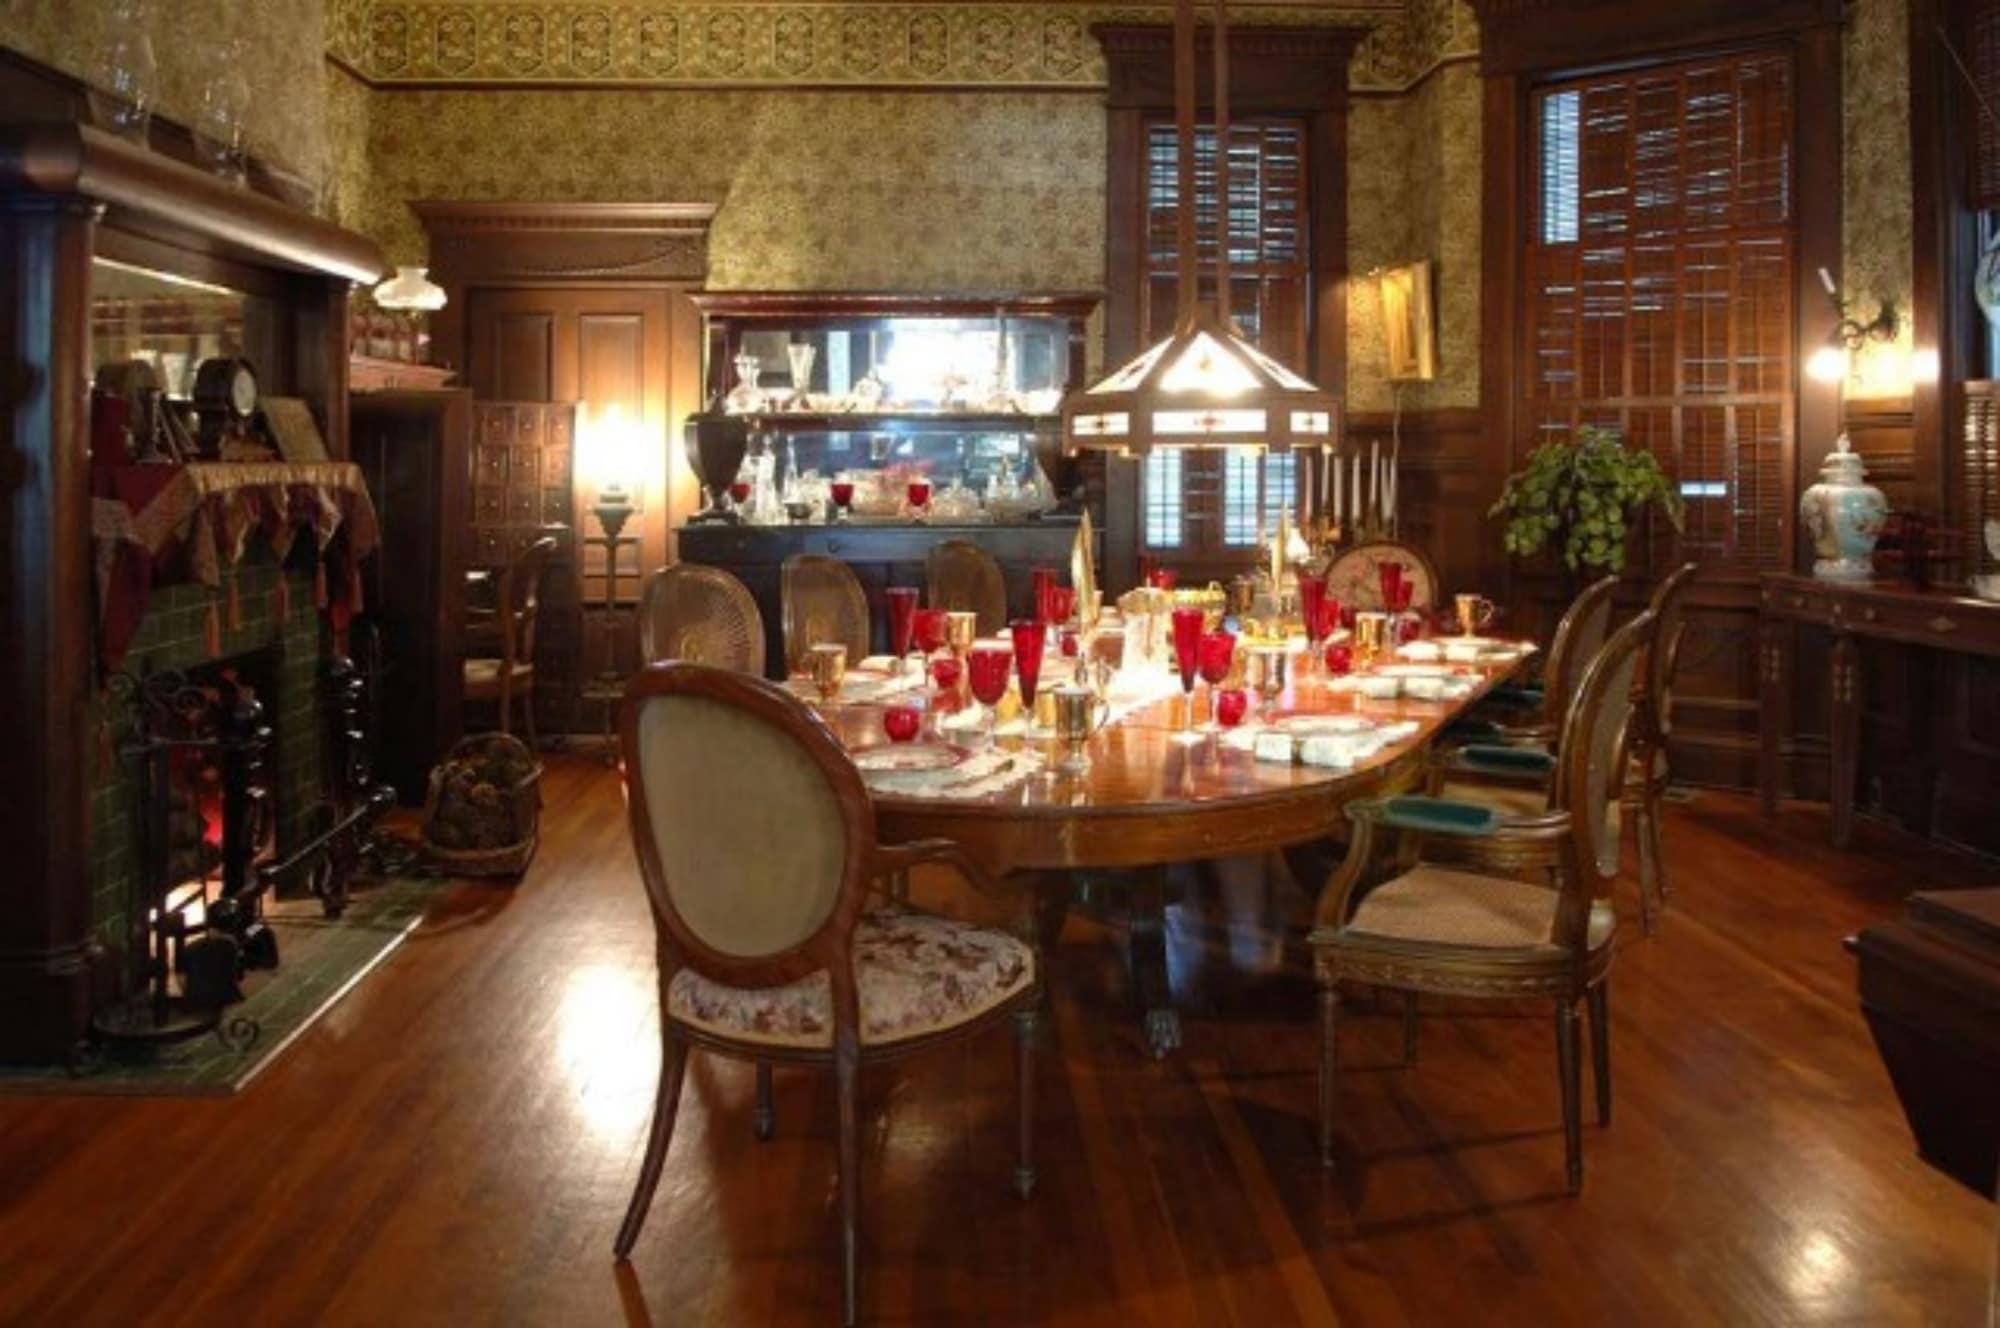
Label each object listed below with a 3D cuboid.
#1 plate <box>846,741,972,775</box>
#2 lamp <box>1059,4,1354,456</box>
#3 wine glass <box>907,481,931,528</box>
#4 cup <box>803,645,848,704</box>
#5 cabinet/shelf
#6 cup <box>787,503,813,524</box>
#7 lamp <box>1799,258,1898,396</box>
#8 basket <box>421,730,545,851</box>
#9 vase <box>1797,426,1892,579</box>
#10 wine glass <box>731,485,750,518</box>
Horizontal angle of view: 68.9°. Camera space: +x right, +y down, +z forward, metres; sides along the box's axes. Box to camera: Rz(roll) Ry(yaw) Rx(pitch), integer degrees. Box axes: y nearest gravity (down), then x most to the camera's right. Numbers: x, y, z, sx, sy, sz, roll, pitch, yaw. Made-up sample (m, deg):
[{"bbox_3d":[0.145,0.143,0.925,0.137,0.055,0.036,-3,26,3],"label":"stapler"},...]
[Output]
[{"bbox_3d":[-0.225,0.235,3.684,0.294,0.036,0.340,-2,14,-11],"label":"plate"},{"bbox_3d":[0.718,-1.732,5.690,0.914,1.799,2.432,1,13,3],"label":"lamp"},{"bbox_3d":[-0.432,-0.876,7.657,0.126,0.187,0.279,-1,13,-4],"label":"wine glass"},{"bbox_3d":[-0.492,0.026,4.126,0.165,0.206,0.139,0,-2,0],"label":"cup"},{"bbox_3d":[-0.499,-0.890,6.969,1.975,2.066,0.668,0,0,0],"label":"cabinet/shelf"},{"bbox_3d":[-1.062,-0.795,7.660,0.121,0.096,0.114,-1,2,0],"label":"cup"},{"bbox_3d":[3.862,-1.533,6.619,0.361,0.549,0.330,7,14,28],"label":"lamp"},{"bbox_3d":[-2.017,0.498,5.763,0.344,0.489,0.472,1,-6,-16],"label":"basket"},{"bbox_3d":[3.679,-0.687,6.398,0.310,0.610,0.321,0,9,26],"label":"vase"},{"bbox_3d":[-1.377,-0.870,7.717,0.084,0.202,0.334,-2,13,-8],"label":"wine glass"}]
